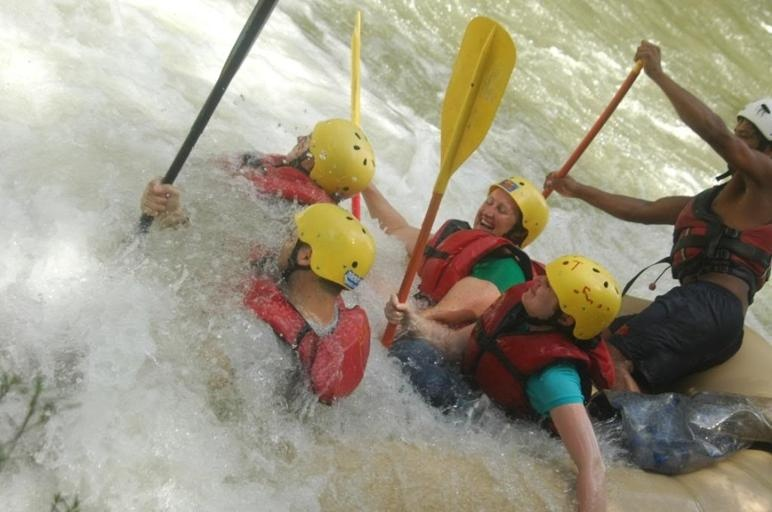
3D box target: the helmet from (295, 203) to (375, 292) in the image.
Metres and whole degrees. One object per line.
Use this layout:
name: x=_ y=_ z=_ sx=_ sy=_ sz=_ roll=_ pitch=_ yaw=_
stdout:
helmet: x=-0.331 y=-0.072 z=6.197 sx=0.607 sy=0.366 sz=0.447 roll=39 pitch=28 yaw=1

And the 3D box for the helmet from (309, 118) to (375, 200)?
helmet: x=-0.313 y=-0.772 z=7.011 sx=0.442 sy=0.585 sz=0.436 roll=17 pitch=27 yaw=37

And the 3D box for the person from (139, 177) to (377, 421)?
person: x=-0.932 y=0.354 z=6.223 sx=1.711 sy=0.963 sz=1.040 roll=21 pitch=23 yaw=11

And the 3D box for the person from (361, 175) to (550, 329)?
person: x=0.770 y=0.102 z=7.498 sx=1.202 sy=0.866 sz=1.334 roll=15 pitch=26 yaw=-43

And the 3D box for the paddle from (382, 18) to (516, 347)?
paddle: x=0.292 y=-0.340 z=6.654 sx=0.396 sy=2.780 sz=0.234 roll=24 pitch=26 yaw=8

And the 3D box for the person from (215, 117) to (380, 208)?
person: x=-0.681 y=-0.783 z=7.044 sx=1.061 sy=0.534 sz=0.629 roll=20 pitch=18 yaw=17
